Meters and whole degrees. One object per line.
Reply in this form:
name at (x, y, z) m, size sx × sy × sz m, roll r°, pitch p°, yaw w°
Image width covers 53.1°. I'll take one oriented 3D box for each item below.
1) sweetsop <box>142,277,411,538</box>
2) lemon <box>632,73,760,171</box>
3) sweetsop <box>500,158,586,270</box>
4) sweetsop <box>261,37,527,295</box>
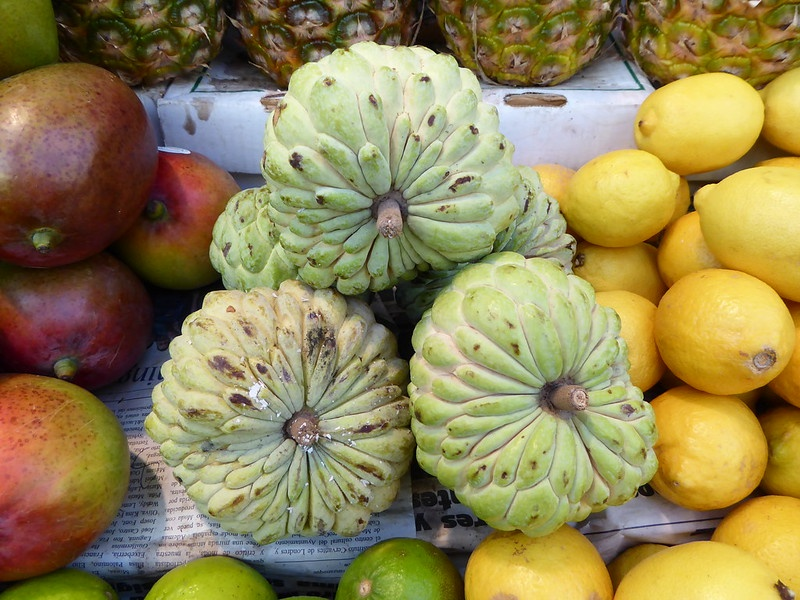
sweetsop at (-0.239, 0.222, 1.595) m, size 0.524 × 0.262 × 0.479 m, roll -5°, pitch 70°, yaw -1°
lemon at (0.681, -0.400, 1.833) m, size 0.279 × 0.215 × 0.214 m, roll 1°, pitch 104°, yaw -8°
sweetsop at (0.296, -0.188, 1.693) m, size 0.214 × 0.096 × 0.167 m, roll -42°, pitch 36°, yaw -18°
sweetsop at (-0.031, -0.247, 1.526) m, size 0.462 × 0.291 × 0.421 m, roll -21°, pitch 71°, yaw -7°
